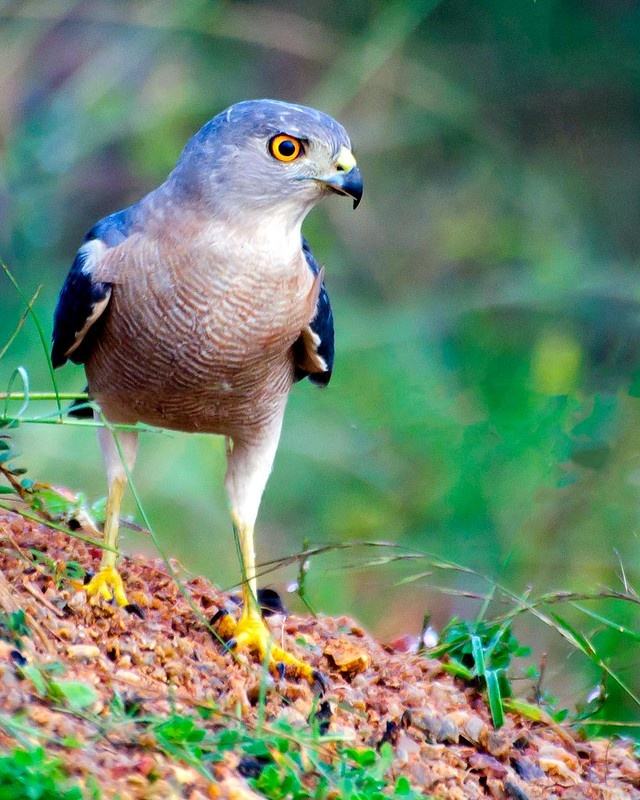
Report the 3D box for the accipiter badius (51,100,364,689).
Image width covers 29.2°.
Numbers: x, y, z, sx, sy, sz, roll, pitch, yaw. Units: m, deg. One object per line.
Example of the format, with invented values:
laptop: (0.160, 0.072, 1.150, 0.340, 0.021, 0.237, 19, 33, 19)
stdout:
accipiter badius: (-0.326, -0.159, 3.302, 0.749, 1.290, 0.454, 7, 18, -13)
